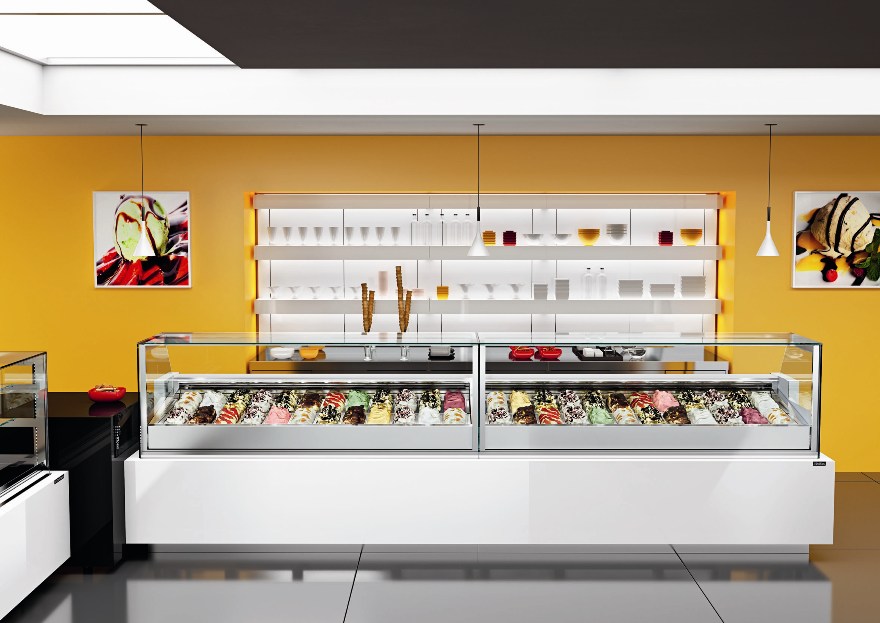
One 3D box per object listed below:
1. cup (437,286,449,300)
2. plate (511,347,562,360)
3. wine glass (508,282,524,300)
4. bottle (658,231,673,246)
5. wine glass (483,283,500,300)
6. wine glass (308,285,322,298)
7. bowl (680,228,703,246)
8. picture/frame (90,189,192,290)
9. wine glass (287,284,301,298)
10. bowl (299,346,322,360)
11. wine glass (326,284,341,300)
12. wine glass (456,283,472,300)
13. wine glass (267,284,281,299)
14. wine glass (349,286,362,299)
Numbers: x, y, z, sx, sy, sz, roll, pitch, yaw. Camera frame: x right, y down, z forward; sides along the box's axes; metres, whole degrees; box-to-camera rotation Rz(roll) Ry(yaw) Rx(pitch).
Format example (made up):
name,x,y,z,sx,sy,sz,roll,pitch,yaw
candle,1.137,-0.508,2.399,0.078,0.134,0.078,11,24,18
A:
name,x,y,z,sx,sy,sz,roll,pitch,yaw
cup,0.025,-0.155,6.377,0.135,0.117,0.095,0,-3,1
plate,0.531,0.236,4.411,0.141,0.049,0.134,-1,0,-22
wine glass,0.634,-0.164,6.420,0.141,0.136,0.133,-1,-1,-4
bottle,1.826,-0.592,6.316,0.119,0.115,0.119,0,2,2
wine glass,0.418,-0.167,6.399,0.132,0.132,0.124,0,-3,-9
wine glass,-1.031,-0.165,6.460,0.098,0.097,0.092,-1,-6,-1
bowl,2.052,-0.612,6.370,0.163,0.132,0.245,2,7,19
picture/frame,-2.341,-0.602,6.107,0.860,0.760,0.036,0,5,1
wine glass,-1.209,-0.162,6.472,0.100,0.099,0.099,0,-4,-14
bowl,-0.743,0.237,4.463,0.097,0.047,0.092,-1,0,0
wine glass,-0.880,-0.164,6.477,0.116,0.118,0.114,0,-2,-13
wine glass,0.188,-0.165,6.419,0.135,0.123,0.127,-3,5,-3
wine glass,-1.374,-0.163,6.492,0.106,0.098,0.101,0,3,5
wine glass,-0.706,-0.157,6.424,0.112,0.096,0.106,1,-4,-19
